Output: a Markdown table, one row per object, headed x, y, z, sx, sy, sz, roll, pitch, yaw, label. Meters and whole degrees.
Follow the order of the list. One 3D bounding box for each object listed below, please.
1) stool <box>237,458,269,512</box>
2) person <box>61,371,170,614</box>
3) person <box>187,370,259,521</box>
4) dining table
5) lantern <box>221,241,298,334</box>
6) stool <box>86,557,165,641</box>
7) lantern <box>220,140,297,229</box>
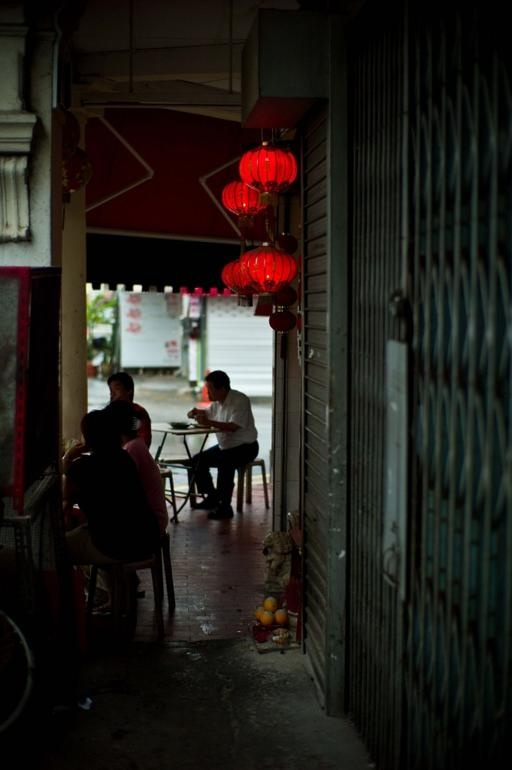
| x | y | z | sx | sy | sz | roll | pitch | yaw | label |
| --- | --- | --- | --- | --- | --- | --- | --- | --- | --- |
| -0.105 | 1.251 | 8.470 | 0.449 | 0.630 | 0.507 | -2 | 4 | 8 | stool |
| -0.973 | 0.835 | 4.674 | 0.676 | 1.491 | 1.419 | 0 | 1 | -15 | person |
| -0.410 | 0.665 | 7.772 | 0.742 | 1.640 | 0.866 | 1 | 1 | 22 | person |
| -0.927 | 1.009 | 8.105 | 0.547 | 0.926 | 1.150 | 7 | -6 | -28 | dining table |
| 0.071 | -0.825 | 5.805 | 0.343 | 0.539 | 1.213 | 0 | 3 | -3 | lantern |
| -0.764 | 1.374 | 4.489 | 0.244 | 0.515 | 0.338 | -9 | -3 | -11 | stool |
| 0.007 | -1.503 | 5.014 | 0.315 | 0.403 | 0.786 | -1 | -7 | -17 | lantern |
